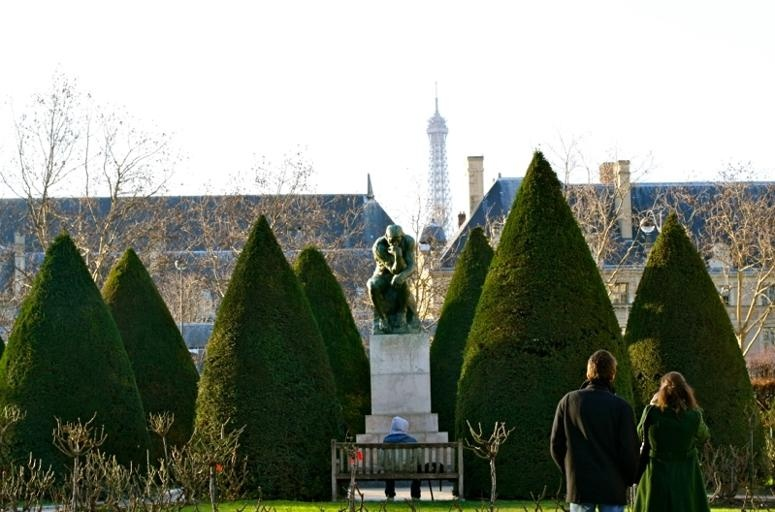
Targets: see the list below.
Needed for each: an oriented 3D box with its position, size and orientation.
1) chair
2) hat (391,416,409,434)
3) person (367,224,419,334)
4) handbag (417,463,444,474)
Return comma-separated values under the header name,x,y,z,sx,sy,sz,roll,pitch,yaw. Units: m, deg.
name,x,y,z,sx,sy,sz,roll,pitch,yaw
chair,0.235,4.707,36.721,2.859,1.358,1.155,0,1,-3
hat,0.254,3.824,37.216,0.330,0.399,0.392,0,-15,-1
person,0.113,0.516,38.952,1.188,2.643,1.194,-2,-12,0
handbag,0.964,4.716,36.543,0.341,0.169,0.471,1,2,26
